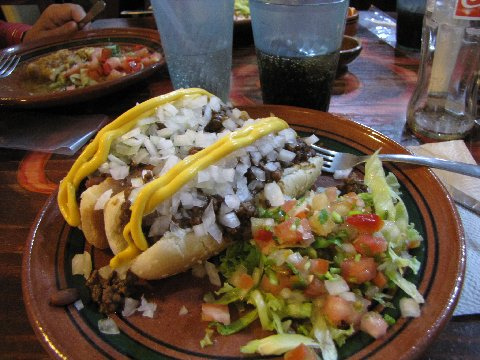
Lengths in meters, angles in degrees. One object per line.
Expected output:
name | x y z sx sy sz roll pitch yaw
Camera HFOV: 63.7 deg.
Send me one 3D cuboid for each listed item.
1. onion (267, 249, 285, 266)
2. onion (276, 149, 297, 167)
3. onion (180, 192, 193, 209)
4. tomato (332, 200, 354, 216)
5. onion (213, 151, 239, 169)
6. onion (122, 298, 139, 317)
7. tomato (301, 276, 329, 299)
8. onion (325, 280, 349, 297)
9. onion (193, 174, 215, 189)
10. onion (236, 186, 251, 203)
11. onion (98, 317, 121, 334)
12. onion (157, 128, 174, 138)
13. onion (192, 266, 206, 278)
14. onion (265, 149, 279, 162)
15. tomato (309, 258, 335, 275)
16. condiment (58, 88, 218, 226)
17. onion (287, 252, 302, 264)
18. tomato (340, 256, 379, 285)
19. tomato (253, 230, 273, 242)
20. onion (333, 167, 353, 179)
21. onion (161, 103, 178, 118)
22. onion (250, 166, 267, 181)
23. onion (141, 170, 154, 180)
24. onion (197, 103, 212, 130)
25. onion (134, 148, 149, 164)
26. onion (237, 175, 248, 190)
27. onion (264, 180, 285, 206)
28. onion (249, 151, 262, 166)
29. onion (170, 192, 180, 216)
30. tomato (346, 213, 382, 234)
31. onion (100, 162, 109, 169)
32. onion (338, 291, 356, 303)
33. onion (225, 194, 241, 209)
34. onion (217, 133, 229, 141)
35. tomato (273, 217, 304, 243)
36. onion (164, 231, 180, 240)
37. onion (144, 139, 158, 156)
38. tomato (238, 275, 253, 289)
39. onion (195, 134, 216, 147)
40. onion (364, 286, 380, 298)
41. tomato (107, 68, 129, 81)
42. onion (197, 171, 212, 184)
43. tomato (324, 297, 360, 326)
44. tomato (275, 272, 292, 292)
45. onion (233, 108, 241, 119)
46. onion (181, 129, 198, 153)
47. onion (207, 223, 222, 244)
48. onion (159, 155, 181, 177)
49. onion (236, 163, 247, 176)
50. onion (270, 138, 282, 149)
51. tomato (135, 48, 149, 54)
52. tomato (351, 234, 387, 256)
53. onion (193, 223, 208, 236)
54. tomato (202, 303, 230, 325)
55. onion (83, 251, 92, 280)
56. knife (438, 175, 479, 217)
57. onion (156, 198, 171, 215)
onion | 0.134 0.285 1.413 0.057 0.021 0.050 -7 49 -2
onion | 0.203 -0.101 1.678 0.106 0.072 0.067 4 36 2
onion | -0.204 0.080 1.497 0.050 0.070 0.041 -15 50 -8
tomato | 0.399 0.105 1.464 0.081 0.026 0.054 -19 51 -12
onion | -0.042 -0.081 1.542 0.062 0.023 0.077 44 87 -11
onion | -0.408 0.477 1.440 0.049 0.016 0.068 0 49 4
tomato | 0.274 0.398 1.377 0.072 0.065 0.067 -37 57 -25
onion | 0.342 0.379 1.353 0.079 0.035 0.052 -1 49 4
onion | -0.140 0.003 1.487 0.058 0.016 0.056 -4 93 -10
onion | 0.013 0.057 1.550 0.064 0.017 0.058 -38 97 -28
onion | -0.472 0.531 1.389 0.054 0.019 0.080 -31 54 -21
onion | -0.315 -0.197 1.668 0.041 0.053 0.020 -25 92 -28
onion | -0.160 0.367 1.535 0.036 0.011 0.036 12 51 6
onion | 0.139 -0.104 1.654 0.058 0.041 0.015 -47 19 -24
tomato | 0.284 0.310 1.382 0.065 0.029 0.047 6 50 10
condiment | -0.498 -0.067 1.800 0.642 0.147 0.386 -44 64 -8
onion | 0.199 0.282 1.397 0.050 0.011 0.038 -34 55 -23
tomato | 0.421 0.322 1.376 0.101 0.056 0.101 -35 37 -25
tomato | 0.090 0.211 1.455 0.071 0.031 0.036 1 49 5
onion | 0.466 -0.037 1.753 0.057 0.019 0.057 0 40 13
onion | -0.310 -0.312 1.718 0.064 0.047 0.024 44 97 18
onion | 0.079 -0.026 1.591 0.038 0.071 0.025 -53 23 9
onion | -0.372 -0.024 1.557 0.027 0.026 0.042 -28 51 -30
onion | -0.150 -0.283 1.728 0.039 0.036 0.148 -10 40 35
onion | -0.410 -0.102 1.623 0.054 0.018 0.054 24 77 17
onion | 0.010 0.009 1.564 0.034 0.010 0.052 5 62 -6
onion | 0.149 0.059 1.610 0.077 0.030 0.113 -3 52 -13
onion | 0.067 -0.088 1.597 0.054 0.053 0.019 -14 3 -41
onion | -0.246 0.090 1.484 0.038 0.076 0.023 11 14 -5
tomato | 0.461 0.153 1.402 0.093 0.034 0.071 14 36 30
onion | -0.571 -0.061 1.639 0.028 0.029 0.026 7 12 -21
onion | 0.377 0.410 1.344 0.040 0.012 0.045 11 45 8
onion | -0.028 0.095 1.528 0.052 0.016 0.052 -24 65 -44
onion | -0.074 -0.180 1.623 0.036 0.013 0.031 -4 27 16
tomato | 0.179 0.195 1.422 0.087 0.048 0.096 -14 50 -8
onion | -0.267 0.216 1.507 0.036 0.011 0.036 14 43 -10
onion | -0.369 -0.136 1.615 0.071 0.017 0.042 55 43 0
tomato | 0.026 0.384 1.443 0.049 0.027 0.044 11 51 14
onion | -0.145 -0.166 1.605 0.061 0.018 0.061 4 68 1
onion | 0.481 0.403 1.387 0.043 0.012 0.042 -31 84 -2
tomato | -0.809 -0.697 2.551 0.105 0.033 0.106 27 64 22
onion | -0.137 -0.016 1.478 0.044 0.019 0.044 41 58 19
tomato | 0.362 0.449 1.356 0.110 0.143 0.050 -32 39 -34
tomato | 0.161 0.369 1.410 0.068 0.036 0.041 10 51 13
onion | -0.013 -0.307 1.765 0.037 0.061 0.040 -11 14 -41
onion | -0.203 -0.161 1.653 0.030 0.077 0.087 22 64 -26
onion | -0.095 0.205 1.510 0.020 0.069 0.059 -5 26 47
onion | -0.278 -0.054 1.580 0.055 0.022 0.091 20 70 47
onion | 0.007 -0.045 1.559 0.031 0.044 0.043 13 36 -10
onion | 0.155 -0.157 1.647 0.040 0.037 0.011 -24 6 -38
tomato | -0.690 -0.907 2.724 0.095 0.021 0.061 -21 51 -14
tomato | 0.470 0.237 1.405 0.119 0.042 0.066 2 50 6
onion | -0.155 0.192 1.507 0.050 0.014 0.048 -13 93 -20
tomato | -0.085 0.490 1.414 0.103 0.024 0.076 1 50 5
onion | -0.612 0.347 1.548 0.038 0.017 0.116 -13 53 -19
knife | 0.966 0.066 1.700 0.074 0.024 0.230 -34 55 -23
onion | -0.292 0.103 1.484 0.058 0.077 0.025 -19 51 -12
